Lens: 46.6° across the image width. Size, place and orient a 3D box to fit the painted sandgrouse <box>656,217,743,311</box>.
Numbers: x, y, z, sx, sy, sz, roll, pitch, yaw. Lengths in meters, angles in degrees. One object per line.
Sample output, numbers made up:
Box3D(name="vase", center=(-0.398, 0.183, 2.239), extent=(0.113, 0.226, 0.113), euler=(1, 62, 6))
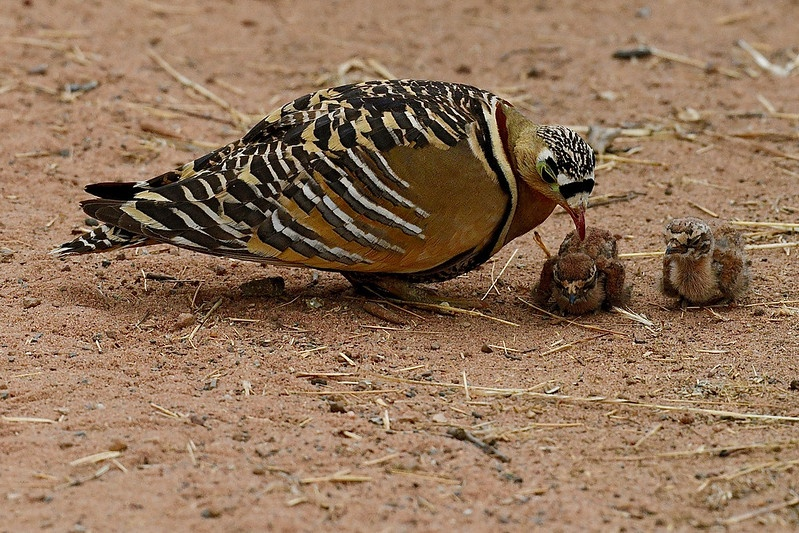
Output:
Box3D(name="painted sandgrouse", center=(2.522, -0.039, 7.639), extent=(0.757, 0.531, 0.991), euler=(11, 28, 35))
